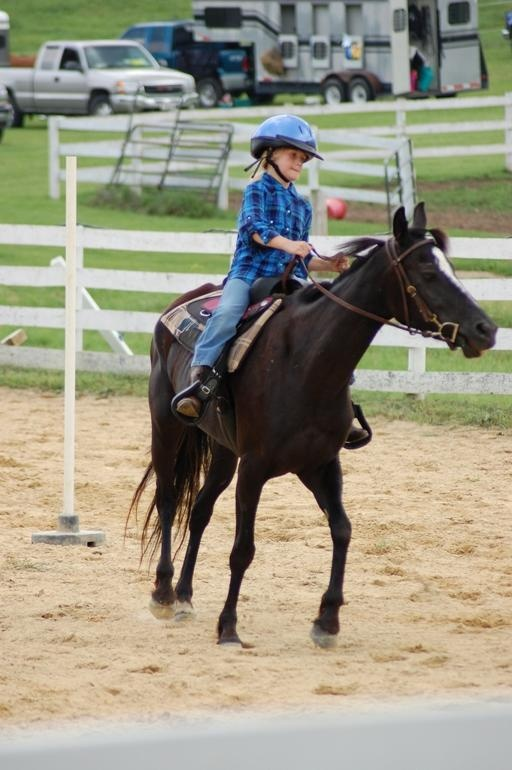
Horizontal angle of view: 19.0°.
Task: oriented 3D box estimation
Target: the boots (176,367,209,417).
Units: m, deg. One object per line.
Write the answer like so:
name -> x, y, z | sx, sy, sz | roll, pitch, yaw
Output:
boots -> -0.289, 0.030, 7.286 | 0.115, 0.248, 0.136 | 14, 18, -36

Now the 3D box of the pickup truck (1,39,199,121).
pickup truck -> -2.632, -4.533, 22.639 | 2.323, 0.927, 1.390 | 8, 14, 36

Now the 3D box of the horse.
horse -> 0.075, 0.262, 7.426 | 0.634, 1.943, 2.689 | 2, -2, -35

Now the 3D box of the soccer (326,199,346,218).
soccer -> 1.106, -2.392, 20.620 | 0.187, 0.261, 0.236 | 7, -37, 4

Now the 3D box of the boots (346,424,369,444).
boots -> 0.509, 0.236, 7.650 | 0.086, 0.120, 0.055 | -2, -35, 3

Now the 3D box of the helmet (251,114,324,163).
helmet -> 0.134, -1.178, 7.320 | 0.267, 0.143, 0.201 | 0, -3, 24
